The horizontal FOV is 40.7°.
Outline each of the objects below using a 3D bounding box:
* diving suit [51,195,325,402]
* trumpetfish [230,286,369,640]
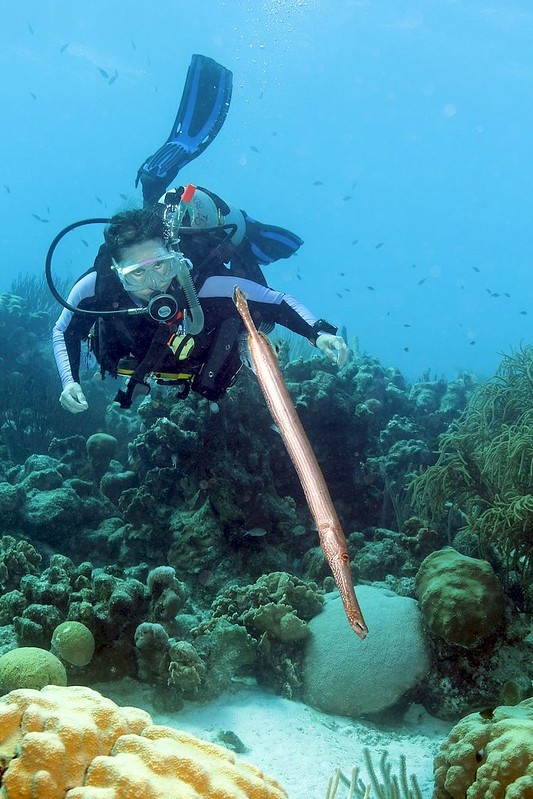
[{"bbox_3d":[-0.850,-0.731,6.034,1.511,2.089,0.973,-40,18,-28],"label":"diving suit"},{"bbox_3d":[0.235,0.726,6.163,0.441,3.295,0.365,-12,-16,-21],"label":"trumpetfish"}]
